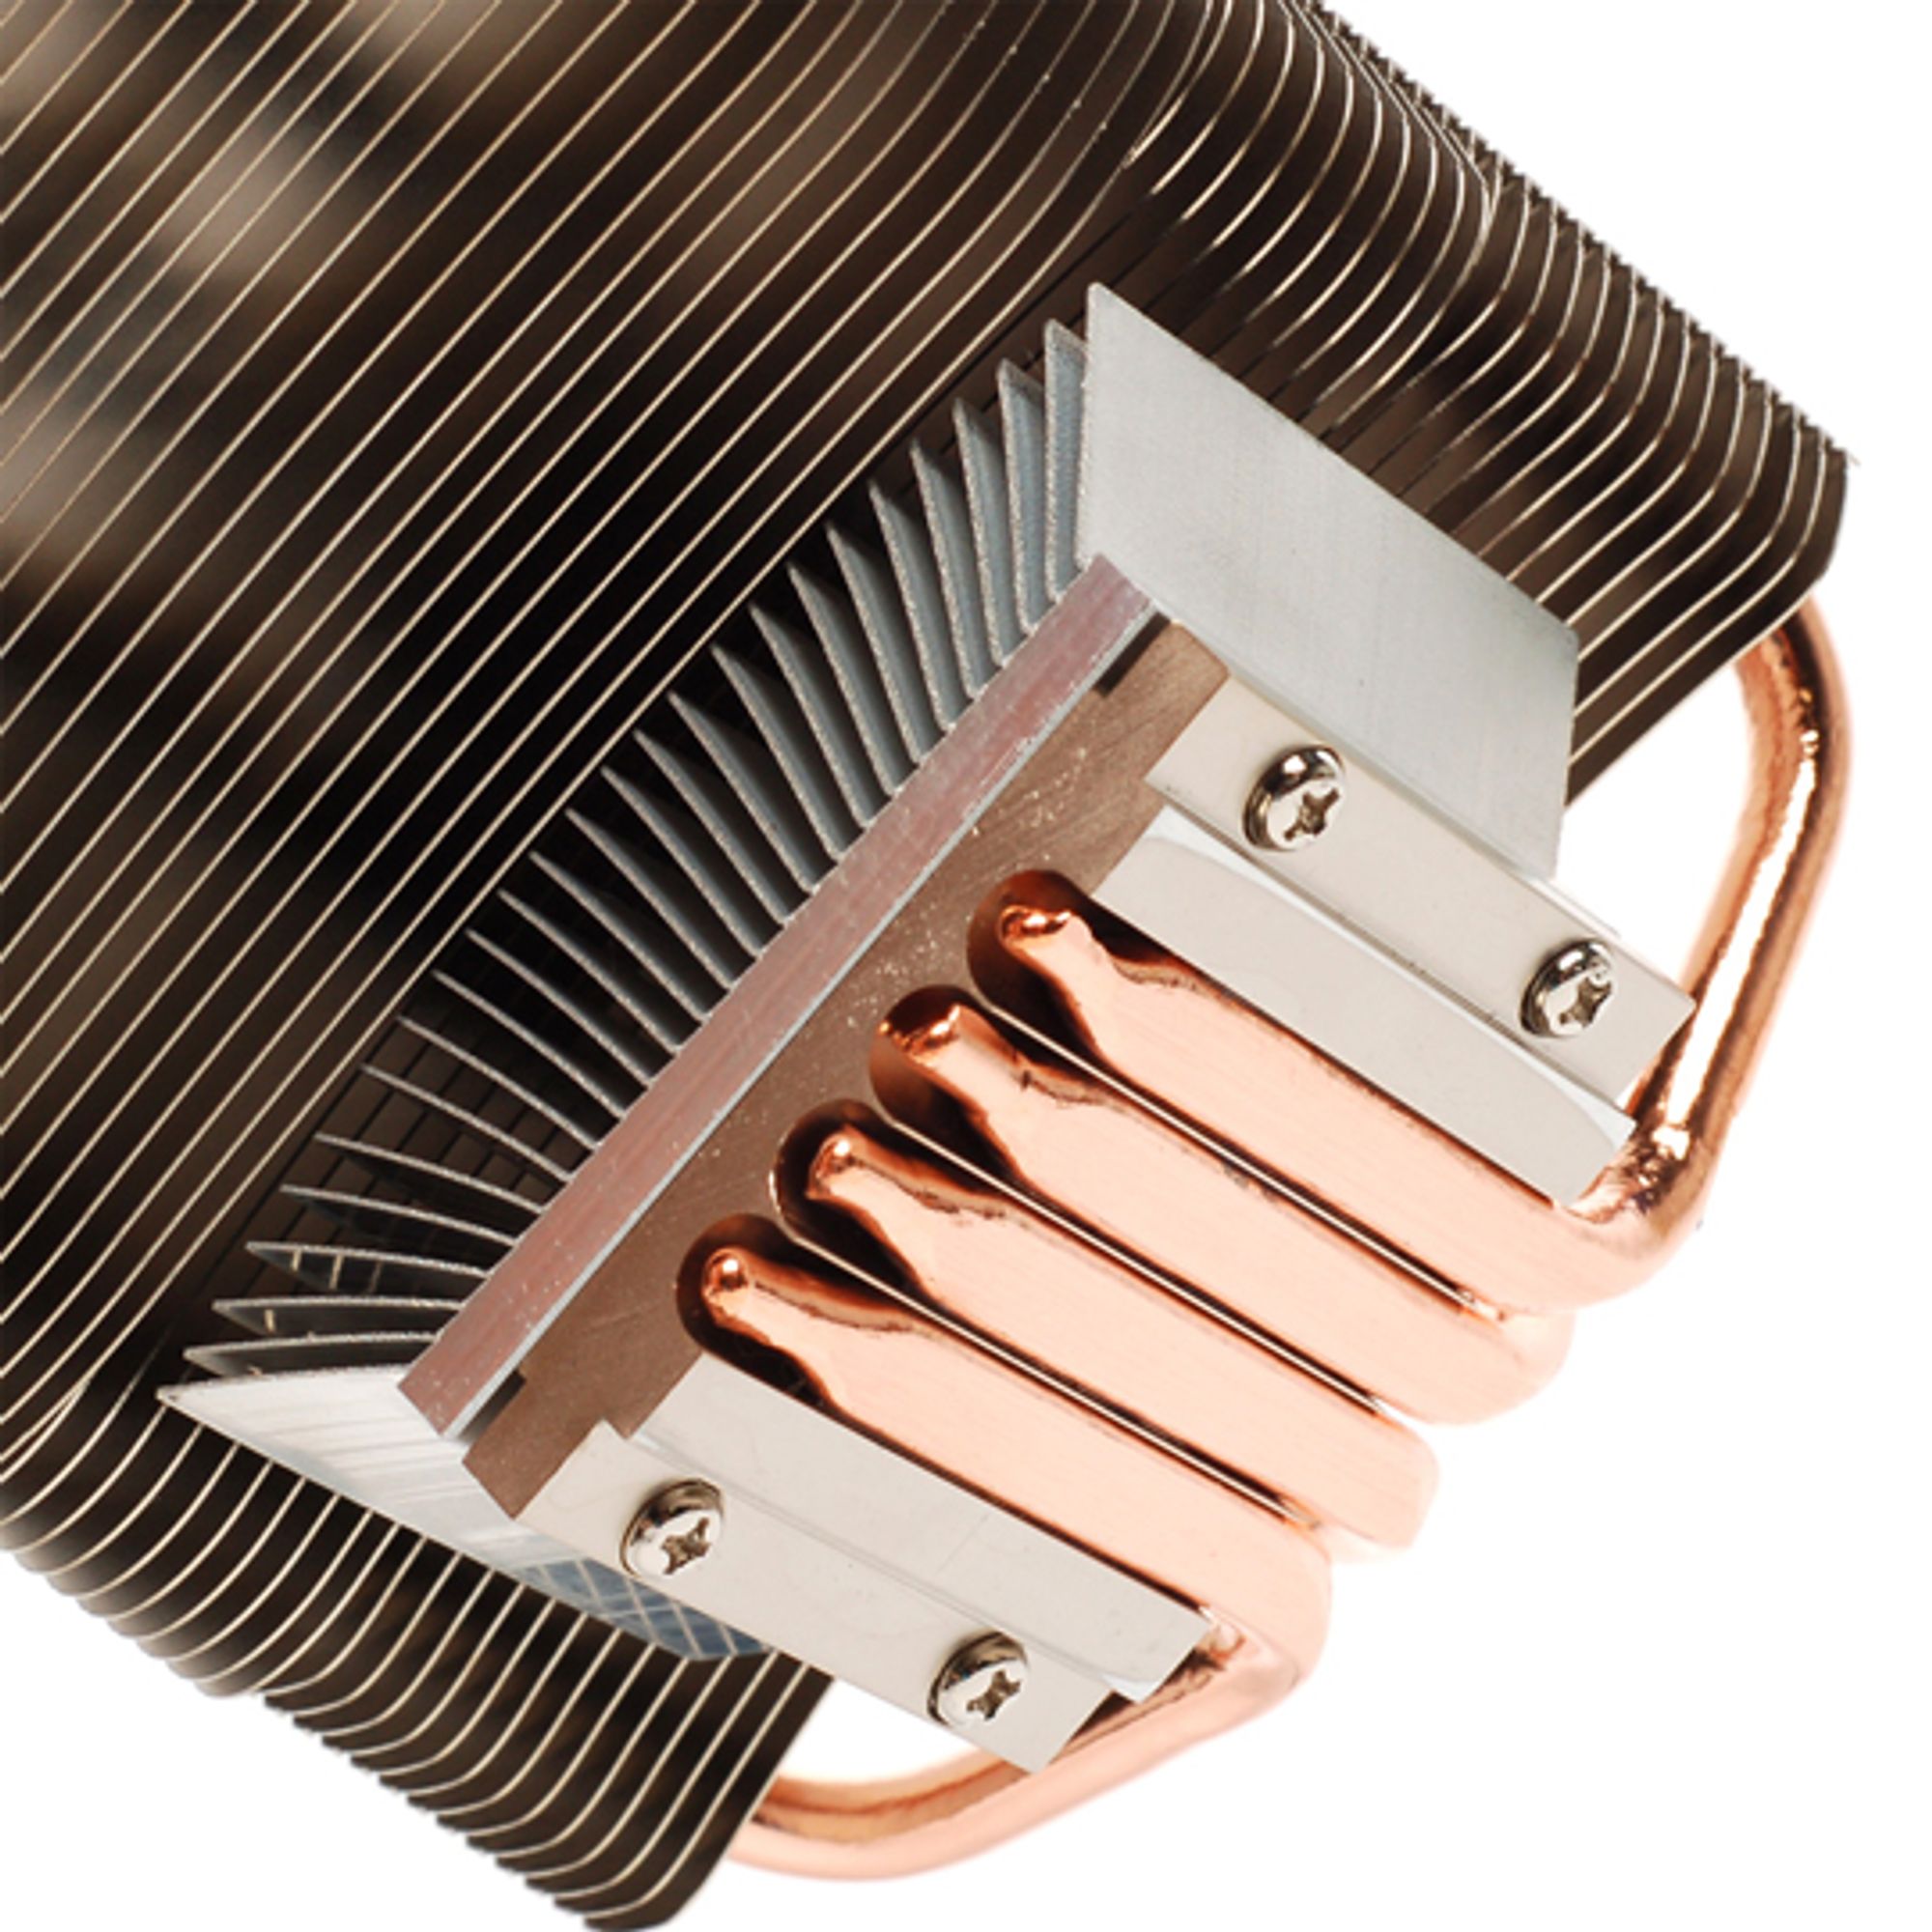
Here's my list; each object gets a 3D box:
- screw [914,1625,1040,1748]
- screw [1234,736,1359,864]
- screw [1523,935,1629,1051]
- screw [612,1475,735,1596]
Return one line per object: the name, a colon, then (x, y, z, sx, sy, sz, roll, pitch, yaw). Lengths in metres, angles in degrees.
screw: (0.013, 0.648, 3.293, 0.035, 0.097, 0.092, 55, 0, 37)
screw: (0.264, -0.131, 2.864, 0.076, 0.073, 0.076, 15, -21, 5)
screw: (0.512, 0.017, 2.983, 0.021, 0.084, 0.074, 49, -33, 42)
screw: (-0.263, 0.471, 3.097, 0.091, 0.090, 0.021, 37, 11, -47)
